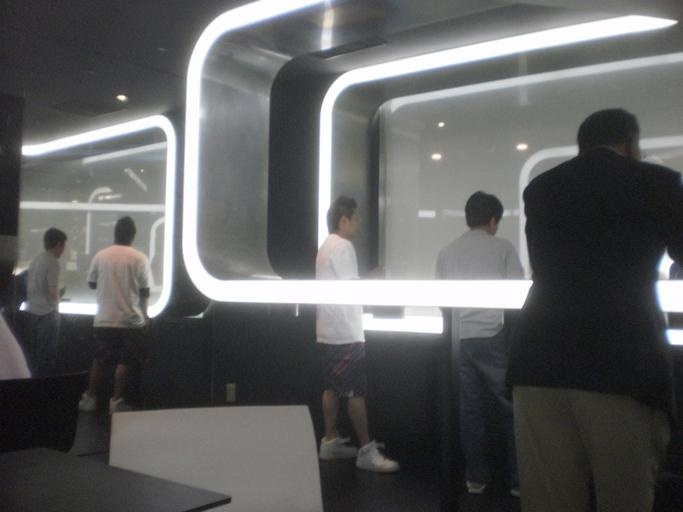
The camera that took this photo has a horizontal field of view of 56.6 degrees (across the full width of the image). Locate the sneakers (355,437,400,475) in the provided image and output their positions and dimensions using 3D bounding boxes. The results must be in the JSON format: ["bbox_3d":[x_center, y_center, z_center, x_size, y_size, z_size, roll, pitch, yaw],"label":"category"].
[{"bbox_3d":[0.096,0.545,1.715,0.056,0.087,0.155,4,-10,-41],"label":"sneakers"}]

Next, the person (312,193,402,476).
[{"bbox_3d":[0.039,0.191,1.754,0.218,0.794,0.610,1,-4,-2],"label":"person"}]
